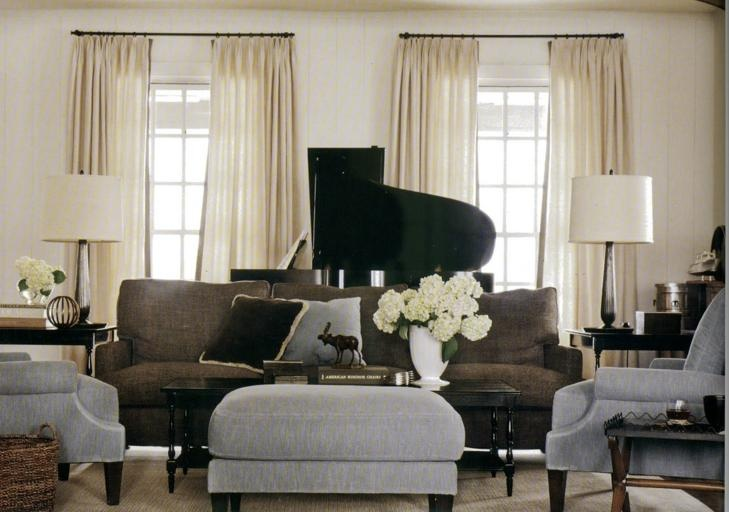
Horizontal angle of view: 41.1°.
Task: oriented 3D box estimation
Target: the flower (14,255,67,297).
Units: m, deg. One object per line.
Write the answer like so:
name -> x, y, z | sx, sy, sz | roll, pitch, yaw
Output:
flower -> -2.617, 0.160, 7.845 | 0.362, 0.312, 0.157 | -1, 3, -24

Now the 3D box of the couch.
couch -> -0.208, 0.964, 7.510 | 3.677, 1.685, 1.304 | 0, -7, 2

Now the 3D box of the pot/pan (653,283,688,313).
pot/pan -> 2.897, 0.379, 9.238 | 0.300, 0.378, 0.333 | 1, -8, 3

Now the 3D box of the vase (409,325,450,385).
vase -> 0.445, 0.706, 6.945 | 0.323, 0.507, 0.334 | 0, -8, -6

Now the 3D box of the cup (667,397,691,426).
cup -> 2.065, 1.023, 6.388 | 0.132, 0.154, 0.146 | 0, -3, 12

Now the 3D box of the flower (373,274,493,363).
flower -> 0.495, 0.389, 6.951 | 0.586, 0.565, 0.709 | -1, -2, -15

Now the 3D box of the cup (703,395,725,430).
cup -> 2.283, 1.008, 6.333 | 0.164, 0.224, 0.186 | 2, -9, -7

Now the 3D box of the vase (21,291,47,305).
vase -> -2.675, 0.331, 7.898 | 0.130, 0.086, 0.143 | 2, -1, 9

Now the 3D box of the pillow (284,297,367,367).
pillow -> -0.314, 0.586, 7.389 | 0.404, 0.420, 0.174 | 1, -38, 1

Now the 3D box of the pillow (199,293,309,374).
pillow -> -0.860, 0.597, 7.515 | 0.785, 0.530, 0.347 | 1, 3, 21
